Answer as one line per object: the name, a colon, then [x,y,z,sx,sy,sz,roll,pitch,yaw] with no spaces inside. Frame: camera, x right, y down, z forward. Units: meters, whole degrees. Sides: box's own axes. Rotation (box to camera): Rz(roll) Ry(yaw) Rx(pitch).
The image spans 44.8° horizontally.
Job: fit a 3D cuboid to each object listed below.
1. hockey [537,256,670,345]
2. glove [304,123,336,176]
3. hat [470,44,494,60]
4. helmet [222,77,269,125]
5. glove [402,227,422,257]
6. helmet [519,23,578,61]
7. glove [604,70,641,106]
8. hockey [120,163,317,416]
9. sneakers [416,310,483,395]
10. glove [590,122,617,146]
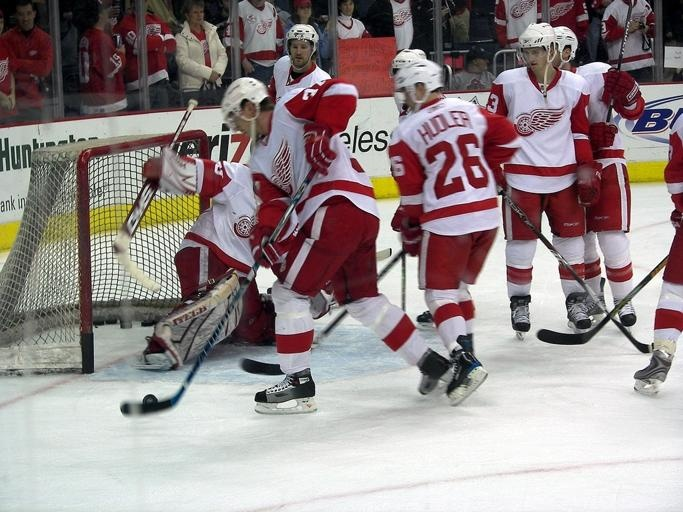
hockey: [1.326,0.210,4.193,0.565,0.465,0.592,3,14,17]
glove: [-0.066,-0.404,3.192,0.079,0.163,0.191,18,11,25]
hat: [1.516,-2.185,8.958,0.259,0.121,0.162,10,21,-1]
helmet: [-0.395,-0.603,3.310,0.216,0.195,0.139,3,15,18]
glove: [0.320,-0.061,3.616,0.100,0.113,0.048,-1,33,3]
helmet: [1.111,-1.128,4.378,0.354,0.175,0.187,-12,17,-41]
glove: [1.495,-0.889,4.397,0.186,0.185,0.185,3,14,16]
hockey: [-0.519,0.172,3.663,0.090,1.367,0.241,42,-4,-25]
sneakers: [0.502,0.429,3.294,0.120,0.225,0.319,-25,-20,-31]
glove: [1.415,-0.657,4.472,0.170,0.130,0.111,0,2,0]
